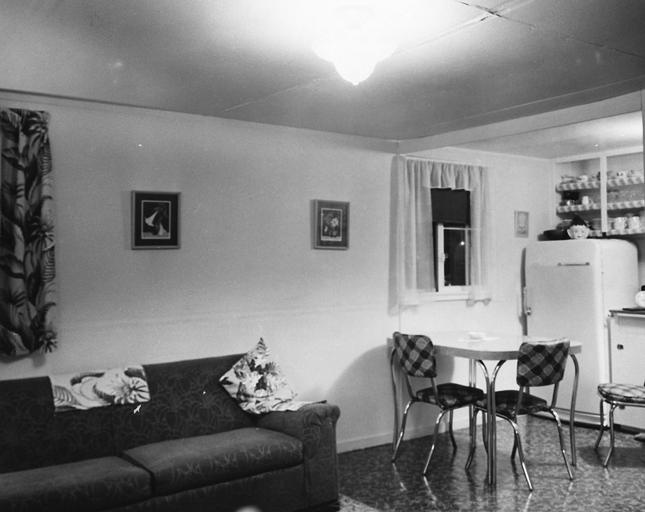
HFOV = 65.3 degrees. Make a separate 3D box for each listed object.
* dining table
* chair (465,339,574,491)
[{"bbox_3d":[1.243,0.923,3.792,0.998,1.018,1.395,-1,0,-32],"label":"dining table"},{"bbox_3d":[1.482,1.083,3.732,0.818,0.871,0.615,-2,0,-17],"label":"chair"}]
